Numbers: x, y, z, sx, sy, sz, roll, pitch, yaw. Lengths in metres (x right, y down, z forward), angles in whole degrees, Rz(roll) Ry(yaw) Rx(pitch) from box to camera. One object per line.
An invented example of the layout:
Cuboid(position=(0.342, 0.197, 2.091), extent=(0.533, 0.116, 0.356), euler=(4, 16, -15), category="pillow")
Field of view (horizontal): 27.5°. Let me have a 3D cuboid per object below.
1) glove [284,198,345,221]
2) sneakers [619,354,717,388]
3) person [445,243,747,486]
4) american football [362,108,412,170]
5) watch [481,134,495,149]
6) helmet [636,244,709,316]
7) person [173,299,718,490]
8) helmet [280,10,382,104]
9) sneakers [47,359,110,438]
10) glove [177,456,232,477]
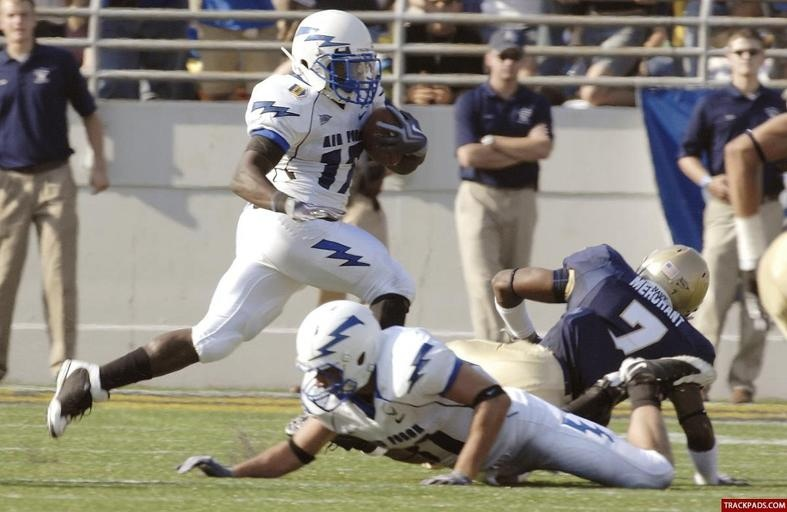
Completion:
Cuboid(position=(-0.424, -0.239, 8.978), extent=(0.391, 0.117, 0.088), euler=(15, 45, -52), category="glove")
Cuboid(position=(1.496, 0.587, 8.791), extent=(0.542, 0.198, 0.176), euler=(-5, 13, -9), category="sneakers")
Cuboid(position=(1.212, 0.467, 8.943), extent=(1.580, 0.672, 1.520), euler=(-4, 25, -43), category="person")
Cuboid(position=(-0.032, -0.735, 9.347), extent=(0.287, 0.105, 0.322), euler=(3, -33, 18), category="american football")
Cuboid(position=(0.657, -0.785, 10.988), extent=(0.090, 0.074, 0.020), euler=(18, -7, 23), category="watch")
Cuboid(position=(1.635, 0.134, 9.341), extent=(0.362, 0.401, 0.437), euler=(47, 2, 9), category="helmet")
Cuboid(position=(0.288, 0.912, 8.703), extent=(2.084, 0.720, 1.211), euler=(9, -32, -22), category="person")
Cuboid(position=(-0.375, -1.170, 9.313), extent=(0.614, 0.435, 0.465), euler=(31, 38, 34), category="helmet")
Cuboid(position=(-1.818, 0.805, 9.135), extent=(0.308, 0.200, 0.551), euler=(11, 44, 9), category="sneakers")
Cuboid(position=(-0.996, 1.134, 8.676), extent=(0.167, 0.061, 0.170), euler=(29, 18, 20), category="glove")
